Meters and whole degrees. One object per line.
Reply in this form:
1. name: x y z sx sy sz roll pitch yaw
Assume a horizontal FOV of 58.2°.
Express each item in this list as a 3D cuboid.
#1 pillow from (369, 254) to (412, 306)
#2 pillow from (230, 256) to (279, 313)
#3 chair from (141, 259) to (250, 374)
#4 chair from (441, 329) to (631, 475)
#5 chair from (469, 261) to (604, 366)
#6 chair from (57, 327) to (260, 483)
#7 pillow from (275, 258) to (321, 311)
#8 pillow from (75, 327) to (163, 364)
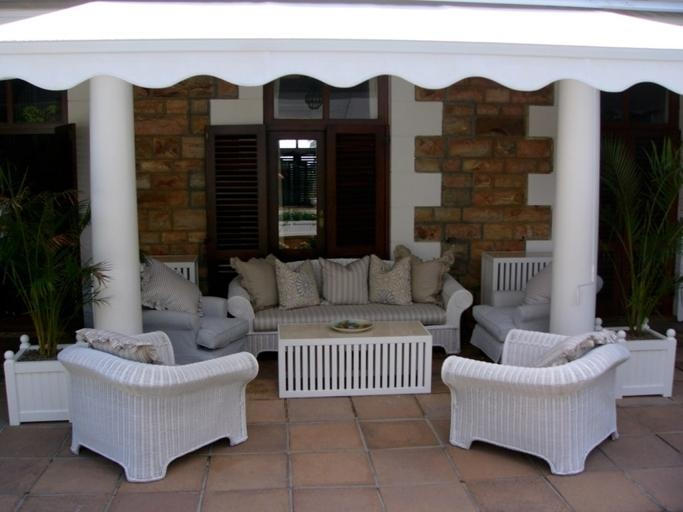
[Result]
1. pillow: 0.516 0.271 6.465 0.451 0.454 0.246 -1 -17 11
2. pillow: -0.884 0.268 6.324 0.493 0.535 0.157 -8 -14 -38
3. chair: -1.414 0.576 5.636 1.004 1.023 0.861 10 10 23
4. chair: 1.401 0.977 4.488 1.246 0.682 1.293 -3 5 18
5. chair: 1.846 0.547 6.046 1.013 0.904 0.817 -4 10 -3
6. chair: -1.223 0.936 4.124 1.092 0.700 0.924 5 10 38
7. pillow: -0.456 0.270 6.282 0.468 0.481 0.140 -5 -10 -37
8. pillow: -1.449 0.598 4.102 0.347 0.110 0.320 14 -13 8
